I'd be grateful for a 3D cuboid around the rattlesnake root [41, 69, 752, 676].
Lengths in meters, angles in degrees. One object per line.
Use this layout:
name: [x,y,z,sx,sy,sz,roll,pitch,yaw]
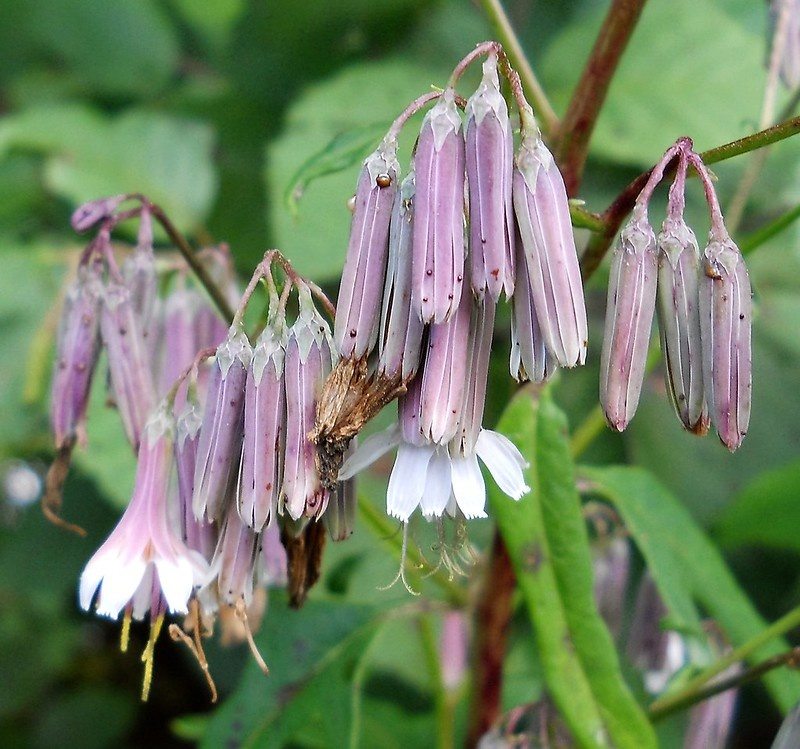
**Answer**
rattlesnake root: [-0.018,-0.015,1.317,0.806,0.455,0.231,-10,4,8]
